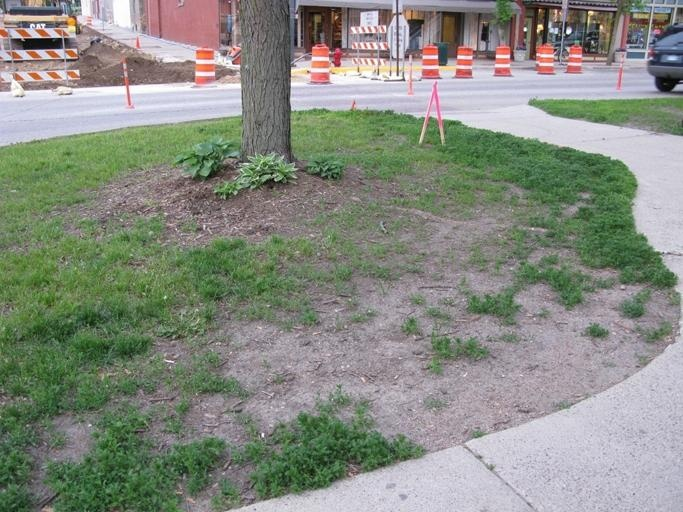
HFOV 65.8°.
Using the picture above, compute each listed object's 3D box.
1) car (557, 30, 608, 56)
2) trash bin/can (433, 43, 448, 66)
[{"bbox_3d":[20.974,-18.103,44.839,5.471,1.955,0.686,-16,25,-32],"label":"car"},{"bbox_3d":[6.221,-12.359,32.455,0.514,1.214,1.878,2,22,7],"label":"trash bin/can"}]
